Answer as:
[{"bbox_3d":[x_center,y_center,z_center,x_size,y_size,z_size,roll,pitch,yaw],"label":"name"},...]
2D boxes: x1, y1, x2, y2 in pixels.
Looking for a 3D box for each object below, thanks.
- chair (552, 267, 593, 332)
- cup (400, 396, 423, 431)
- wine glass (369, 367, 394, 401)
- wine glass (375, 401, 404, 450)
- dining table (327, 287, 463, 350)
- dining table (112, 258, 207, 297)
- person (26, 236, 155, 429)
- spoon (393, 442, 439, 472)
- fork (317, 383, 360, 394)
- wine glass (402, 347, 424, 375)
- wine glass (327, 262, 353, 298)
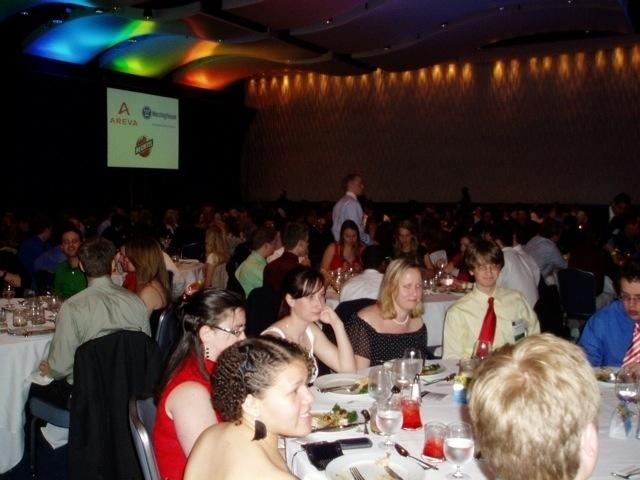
[{"bbox_3d":[2.794,0.683,5.207,0.400,0.807,0.540,-4,-15,30],"label":"chair"},{"bbox_3d":[0.381,0.728,2.096,0.111,0.119,0.107,-3,-2,0],"label":"cup"},{"bbox_3d":[0.271,0.624,2.183,0.123,0.190,0.129,-3,-5,19],"label":"wine glass"},{"bbox_3d":[0.274,0.719,1.954,0.105,0.182,0.202,-1,-2,10],"label":"wine glass"},{"bbox_3d":[0.864,0.543,4.537,0.720,0.561,0.674,-3,4,-43],"label":"dining table"},{"bbox_3d":[-1.807,0.444,6.248,0.625,0.252,0.557,-8,16,-29],"label":"dining table"},{"bbox_3d":[-1.485,0.502,3.181,0.603,1.042,0.576,-2,-2,37],"label":"person"},{"bbox_3d":[0.353,0.811,1.839,0.047,0.039,0.237,7,7,-30],"label":"spoon"},{"bbox_3d":[0.098,0.719,2.361,0.233,0.020,0.064,-1,26,-22],"label":"fork"},{"bbox_3d":[0.479,0.600,2.464,0.108,0.144,0.108,-2,1,3],"label":"wine glass"},{"bbox_3d":[0.223,0.432,5.036,0.292,0.304,0.178,25,-38,-22],"label":"wine glass"}]
